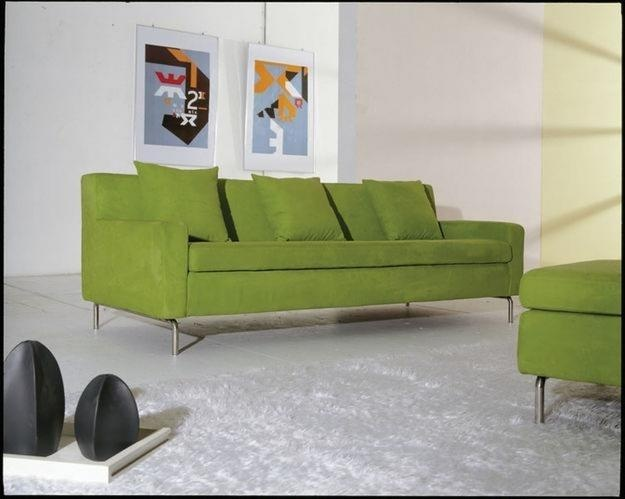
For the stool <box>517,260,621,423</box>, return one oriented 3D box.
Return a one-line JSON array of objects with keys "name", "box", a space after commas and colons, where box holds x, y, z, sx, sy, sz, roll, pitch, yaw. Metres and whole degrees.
[{"name": "stool", "box": [0.824, 0.300, 1.864, 0.292, 0.486, 0.262, 3, 4, 29]}]
